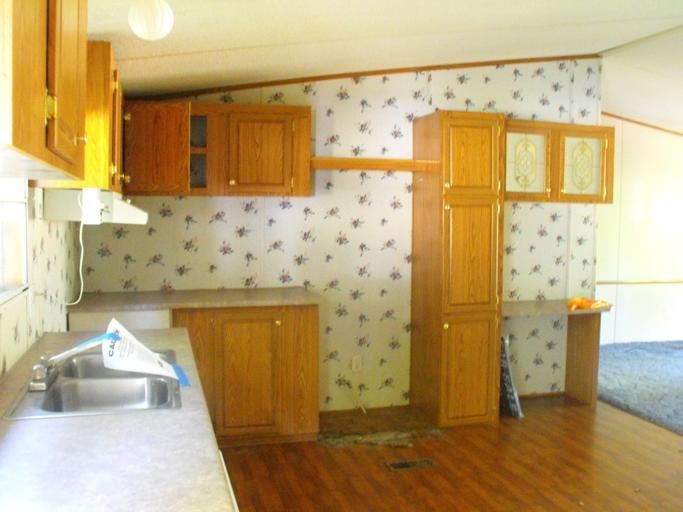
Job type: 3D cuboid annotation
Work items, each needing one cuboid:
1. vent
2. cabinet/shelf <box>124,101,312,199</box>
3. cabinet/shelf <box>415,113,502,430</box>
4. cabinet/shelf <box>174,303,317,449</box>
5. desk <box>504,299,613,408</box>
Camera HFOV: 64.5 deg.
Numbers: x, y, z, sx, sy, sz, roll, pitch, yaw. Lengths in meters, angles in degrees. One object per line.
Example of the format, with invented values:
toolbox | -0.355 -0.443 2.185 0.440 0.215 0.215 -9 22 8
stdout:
vent | -1.151 -0.249 2.652 0.421 0.168 0.414 4 7 33
cabinet/shelf | -0.866 -0.766 3.885 1.274 0.648 0.363 -1 7 -14
cabinet/shelf | 0.883 0.098 4.235 0.741 2.404 0.550 2 7 15
cabinet/shelf | -0.628 0.834 3.948 1.047 0.997 0.403 -1 -1 1
desk | 1.716 0.808 4.955 1.157 1.146 0.717 0 2 4
